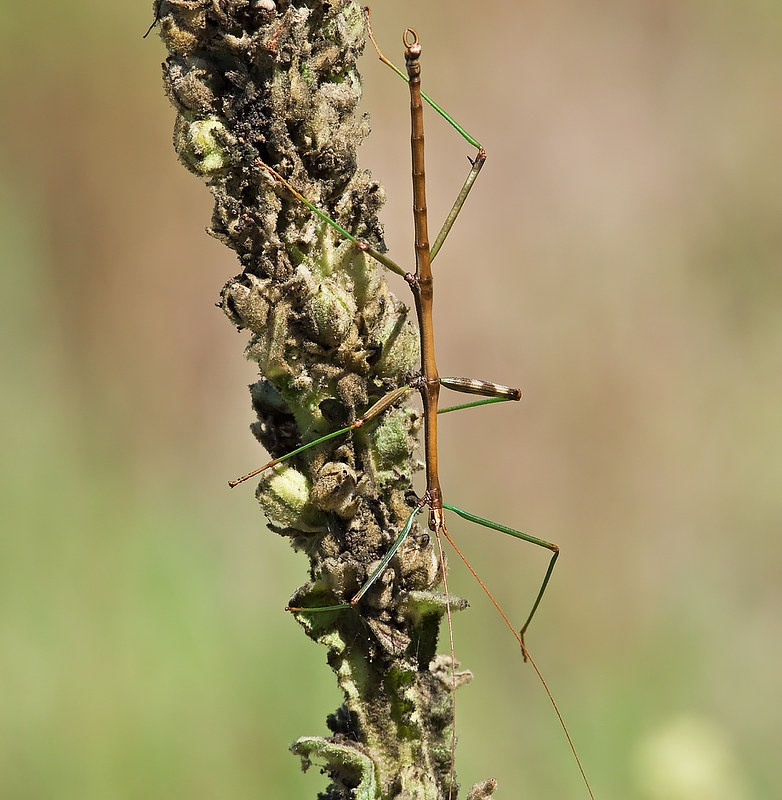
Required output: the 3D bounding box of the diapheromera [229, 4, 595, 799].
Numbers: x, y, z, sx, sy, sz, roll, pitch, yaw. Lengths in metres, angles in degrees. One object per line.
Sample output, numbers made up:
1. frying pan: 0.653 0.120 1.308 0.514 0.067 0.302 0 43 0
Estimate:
1. diapheromera: 0.211 0.351 4.827 1.303 0.673 3.293 -4 -82 -10
